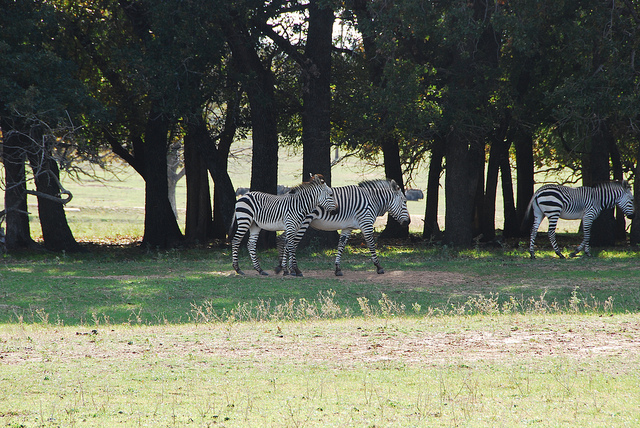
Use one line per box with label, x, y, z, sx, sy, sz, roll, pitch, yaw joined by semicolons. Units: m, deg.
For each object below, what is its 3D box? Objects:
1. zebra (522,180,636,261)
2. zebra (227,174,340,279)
zebra;10.280;0.189;50.604;4.143;3.051;2.390;-1;-1;4
zebra;-1.432;0.492;47.180;4.193;3.768;1.191;1;6;6
